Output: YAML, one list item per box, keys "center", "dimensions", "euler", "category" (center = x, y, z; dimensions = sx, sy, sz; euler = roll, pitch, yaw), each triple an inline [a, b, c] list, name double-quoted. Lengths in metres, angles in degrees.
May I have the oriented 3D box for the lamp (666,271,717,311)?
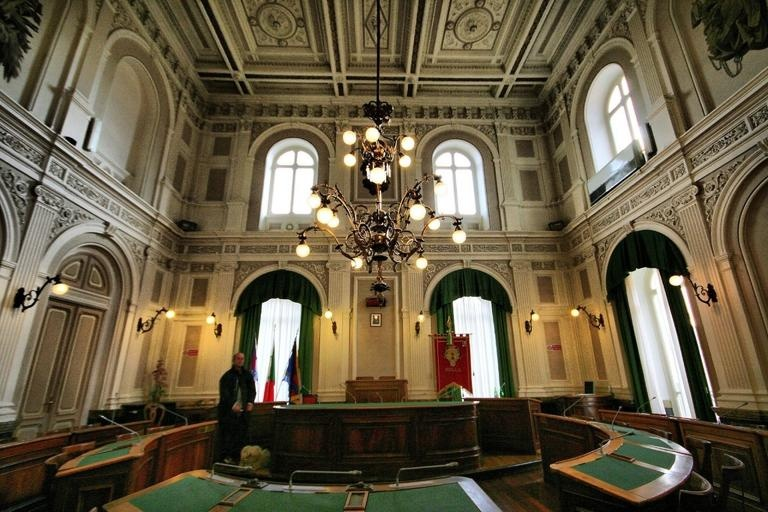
- center: [6.061, 0.638, 7.976]
  dimensions: [0.606, 0.762, 0.619]
  euler: [-12, -21, 29]
  category: "lamp"

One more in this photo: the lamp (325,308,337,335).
- center: [-1.429, 1.769, 10.903]
  dimensions: [0.354, 0.688, 0.249]
  euler: [2, -19, -9]
  category: "lamp"

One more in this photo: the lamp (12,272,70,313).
- center: [-6.393, 0.653, 7.514]
  dimensions: [0.544, 0.755, 0.628]
  euler: [-14, -22, 33]
  category: "lamp"

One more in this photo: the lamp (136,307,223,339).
- center: [-5.334, 1.698, 10.614]
  dimensions: [1.911, 0.822, 0.748]
  euler: [8, -20, -27]
  category: "lamp"

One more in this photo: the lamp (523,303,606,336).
- center: [4.841, 1.677, 10.941]
  dimensions: [1.900, 0.758, 0.819]
  euler: [-10, -20, 25]
  category: "lamp"

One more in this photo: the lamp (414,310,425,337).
- center: [0.951, 1.828, 11.053]
  dimensions: [0.307, 0.674, 0.115]
  euler: [-2, -19, 2]
  category: "lamp"
